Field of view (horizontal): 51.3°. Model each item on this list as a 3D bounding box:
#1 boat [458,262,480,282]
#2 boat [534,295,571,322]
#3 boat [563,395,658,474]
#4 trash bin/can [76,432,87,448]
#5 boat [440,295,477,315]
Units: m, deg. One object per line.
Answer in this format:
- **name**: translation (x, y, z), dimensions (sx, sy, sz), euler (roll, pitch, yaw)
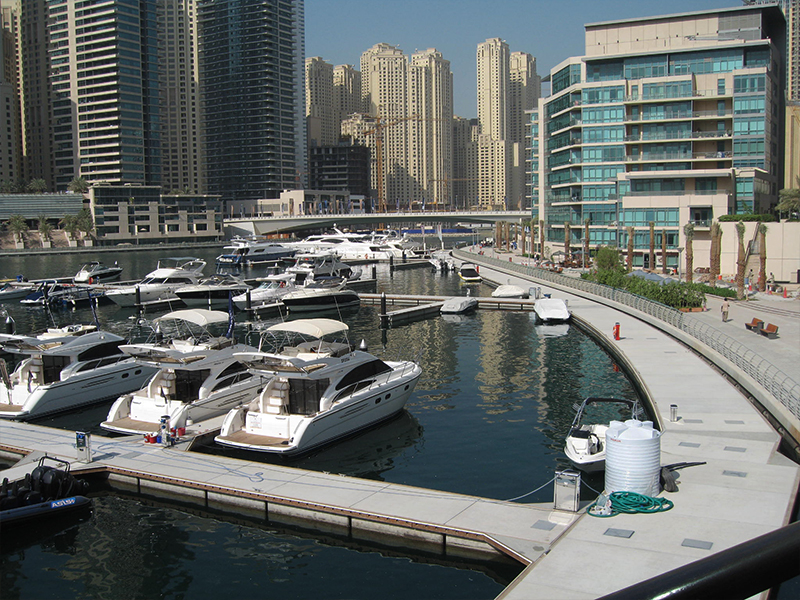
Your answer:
- **boat**: translation (8.270, -3.345, 101.138), dimensions (3.134, 2.558, 8.991), euler (-1, 4, 0)
- **boat**: translation (11.535, 0.744, 63.689), dimensions (1.971, 0.973, 3.337), euler (-2, 8, 3)
- **boat**: translation (7.382, 5.081, 32.344), dimensions (2.281, 1.744, 4.740), euler (3, 14, 29)
- **trash bin/can**: translation (-11.800, 5.229, 30.986), dimensions (0.365, 0.584, 0.649), euler (-10, 12, -22)
- **boat**: translation (5.020, 0.500, 71.265), dimensions (2.524, 1.053, 3.476), euler (2, 11, 28)
